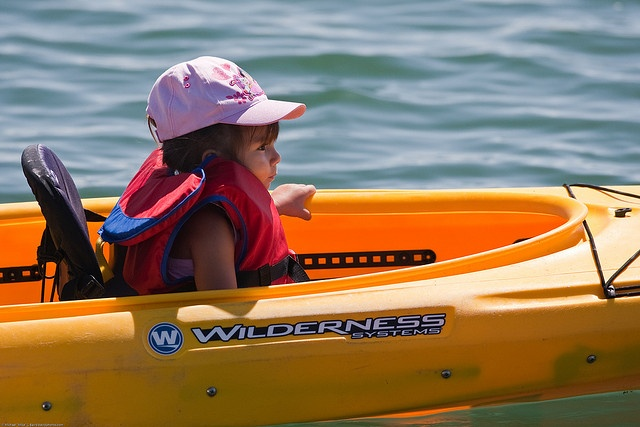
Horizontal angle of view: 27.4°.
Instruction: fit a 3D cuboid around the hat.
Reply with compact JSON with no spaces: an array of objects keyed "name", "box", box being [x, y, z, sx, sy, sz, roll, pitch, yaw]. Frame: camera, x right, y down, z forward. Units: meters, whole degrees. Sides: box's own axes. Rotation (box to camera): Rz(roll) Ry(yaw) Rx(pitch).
[{"name":"hat","box":[-0.330,-0.484,5.260,0.722,0.260,0.452,-7,11,40]}]
